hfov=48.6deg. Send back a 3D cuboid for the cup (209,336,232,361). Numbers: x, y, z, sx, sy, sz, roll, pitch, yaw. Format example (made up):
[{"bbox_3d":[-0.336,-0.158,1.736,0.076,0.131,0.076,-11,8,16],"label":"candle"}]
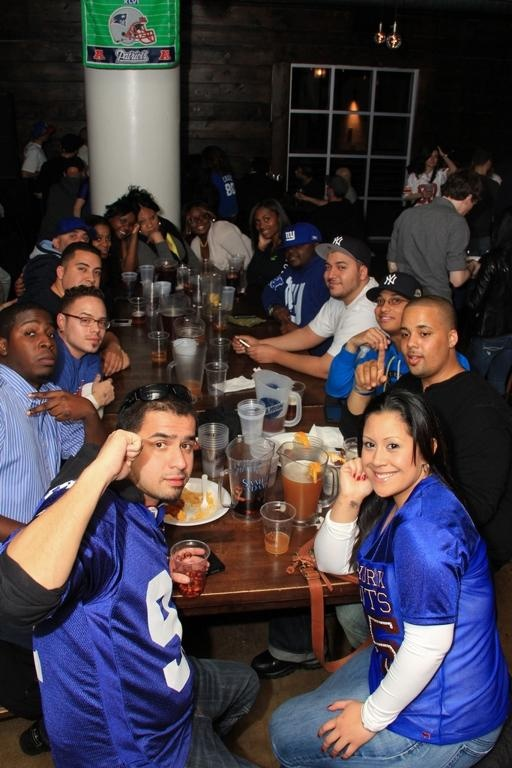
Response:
[{"bbox_3d":[-0.180,-0.174,2.921,0.120,0.104,0.126,0,40,0],"label":"cup"}]

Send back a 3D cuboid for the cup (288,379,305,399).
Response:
[{"bbox_3d":[0.172,0.019,2.380,0.060,0.067,0.062,-2,40,2],"label":"cup"}]

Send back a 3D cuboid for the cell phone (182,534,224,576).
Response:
[{"bbox_3d":[-0.118,0.410,1.354,0.096,0.022,0.069,22,15,41],"label":"cell phone"}]

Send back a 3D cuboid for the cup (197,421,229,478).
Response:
[{"bbox_3d":[-0.133,0.207,1.753,0.102,0.155,0.109,0,24,0],"label":"cup"}]

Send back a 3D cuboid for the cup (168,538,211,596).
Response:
[{"bbox_3d":[-0.151,0.441,1.327,0.080,0.085,0.080,-2,-21,-1],"label":"cup"}]

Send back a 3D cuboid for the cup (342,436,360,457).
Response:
[{"bbox_3d":[0.293,0.200,1.754,0.058,0.065,0.062,-4,30,2],"label":"cup"}]

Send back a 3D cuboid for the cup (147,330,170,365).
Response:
[{"bbox_3d":[-0.504,-0.182,2.920,0.116,0.158,0.120,1,34,-1],"label":"cup"}]

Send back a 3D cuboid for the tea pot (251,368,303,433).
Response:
[{"bbox_3d":[0.076,0.071,2.159,0.186,0.202,0.107,29,46,29],"label":"tea pot"}]

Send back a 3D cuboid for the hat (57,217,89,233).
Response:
[{"bbox_3d":[-1.174,-0.985,3.596,0.174,0.089,0.124,-12,15,30],"label":"hat"}]

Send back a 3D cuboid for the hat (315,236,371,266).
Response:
[{"bbox_3d":[0.452,-0.687,2.886,0.246,0.118,0.179,13,11,-22],"label":"hat"}]

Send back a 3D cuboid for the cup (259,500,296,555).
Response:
[{"bbox_3d":[0.043,0.378,1.497,0.109,0.112,0.107,1,15,0],"label":"cup"}]

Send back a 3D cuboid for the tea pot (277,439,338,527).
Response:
[{"bbox_3d":[0.147,0.291,1.584,0.174,0.202,0.118,7,17,13],"label":"tea pot"}]

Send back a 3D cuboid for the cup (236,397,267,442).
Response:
[{"bbox_3d":[-0.018,0.119,1.917,0.125,0.142,0.122,2,30,-1],"label":"cup"}]

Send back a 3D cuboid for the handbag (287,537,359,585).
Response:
[{"bbox_3d":[0.167,0.429,1.364,0.078,0.031,0.125,1,25,-4],"label":"handbag"}]
